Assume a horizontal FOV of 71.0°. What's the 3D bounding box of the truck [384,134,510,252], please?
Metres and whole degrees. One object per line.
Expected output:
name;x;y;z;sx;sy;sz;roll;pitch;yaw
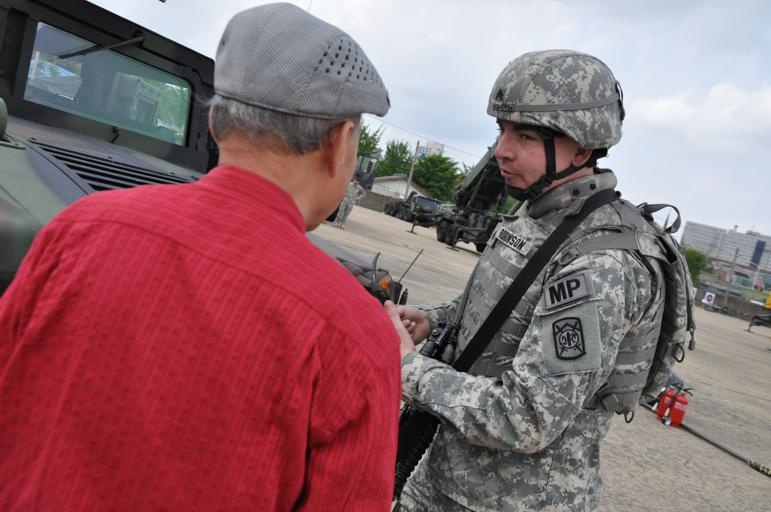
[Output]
truck;3.120;-2.103;21.118;2.505;3.778;6.905;3;12;-21
